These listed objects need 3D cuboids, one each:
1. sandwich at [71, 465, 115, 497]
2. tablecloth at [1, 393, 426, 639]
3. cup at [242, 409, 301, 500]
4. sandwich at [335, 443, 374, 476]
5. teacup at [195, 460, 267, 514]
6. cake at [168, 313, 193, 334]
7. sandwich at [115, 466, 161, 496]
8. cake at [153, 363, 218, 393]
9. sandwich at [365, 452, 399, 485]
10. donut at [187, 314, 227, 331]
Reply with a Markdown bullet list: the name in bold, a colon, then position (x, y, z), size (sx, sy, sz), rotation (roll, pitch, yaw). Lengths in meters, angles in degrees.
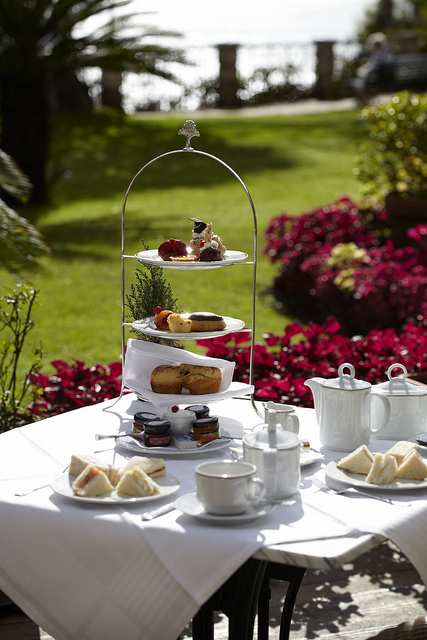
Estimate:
- **sandwich**: position (-0.269, 0.352, 1.345), size (0.065, 0.022, 0.060), rotation (10, 19, -1)
- **tablecloth**: position (-0.032, 0.405, 1.366), size (0.861, 0.185, 0.799), rotation (9, 12, 38)
- **cup**: position (0.126, 0.293, 1.404), size (0.205, 0.168, 0.229), rotation (0, 7, -2)
- **sandwich**: position (0.349, 0.347, 1.506), size (0.021, 0.078, 0.057), rotation (14, 41, -57)
- **teacup**: position (0.033, 0.347, 1.257), size (0.146, 0.079, 0.120), rotation (-1, 0, 44)
- **cake**: position (-0.098, 0.010, 1.858), size (0.068, 0.058, 0.021), rotation (1, -7, -24)
- **sandwich**: position (-0.171, 0.355, 1.367), size (0.071, 0.022, 0.069), rotation (5, 3, -24)
- **cake**: position (-0.086, 0.176, 1.991), size (0.214, 0.082, 0.177), rotation (-4, 5, 2)
- **sandwich**: position (0.401, 0.342, 1.431), size (0.060, 0.029, 0.070), rotation (-1, 59, 12)
- **donut**: position (-0.020, 0.008, 1.949), size (0.113, 0.047, 0.074), rotation (-6, 30, -1)
